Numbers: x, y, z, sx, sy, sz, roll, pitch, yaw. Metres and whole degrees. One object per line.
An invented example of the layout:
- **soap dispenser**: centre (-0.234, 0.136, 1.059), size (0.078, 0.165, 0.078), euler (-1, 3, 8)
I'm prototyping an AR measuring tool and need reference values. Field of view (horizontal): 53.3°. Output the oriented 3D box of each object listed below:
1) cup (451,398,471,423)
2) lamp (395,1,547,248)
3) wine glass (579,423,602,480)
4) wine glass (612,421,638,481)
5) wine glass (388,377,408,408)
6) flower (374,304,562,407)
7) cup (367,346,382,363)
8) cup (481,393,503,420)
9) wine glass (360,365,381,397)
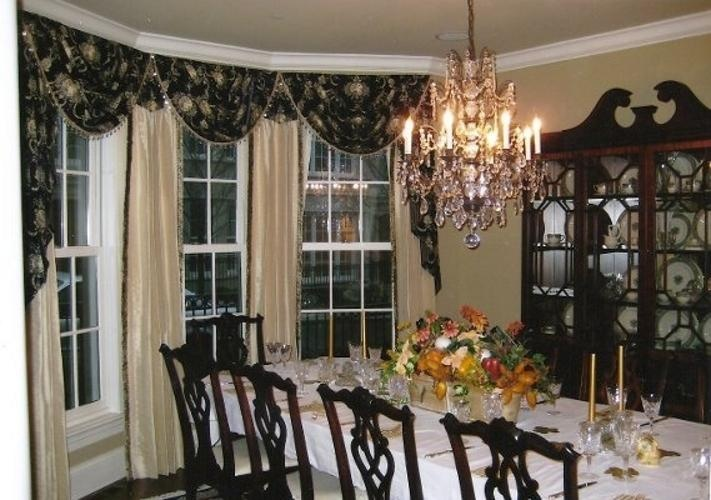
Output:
- **cup**: centre (0.589, 0.904, 4.045), size (0.118, 0.160, 0.130), euler (3, 5, 26)
- **lamp**: centre (0.770, -0.877, 5.327), size (1.250, 1.369, 2.264), euler (-2, 0, 14)
- **wine glass**: centre (1.252, 1.044, 3.777), size (0.104, 0.236, 0.340), euler (-2, 0, 18)
- **wine glass**: centre (1.421, 1.042, 3.731), size (0.112, 0.243, 0.190), euler (-2, 0, 11)
- **wine glass**: centre (0.266, 0.889, 4.377), size (0.152, 0.178, 0.143), euler (0, -3, 37)
- **flower**: centre (0.757, 0.643, 4.314), size (0.662, 0.377, 0.688), euler (3, -6, 39)
- **cup**: centre (0.140, 0.758, 5.084), size (0.106, 0.133, 0.119), euler (-1, -5, 5)
- **cup**: centre (0.762, 0.878, 3.955), size (0.120, 0.170, 0.132), euler (-1, -2, 1)
- **wine glass**: centre (0.101, 0.837, 4.510), size (0.111, 0.168, 0.159), euler (2, -13, -9)
